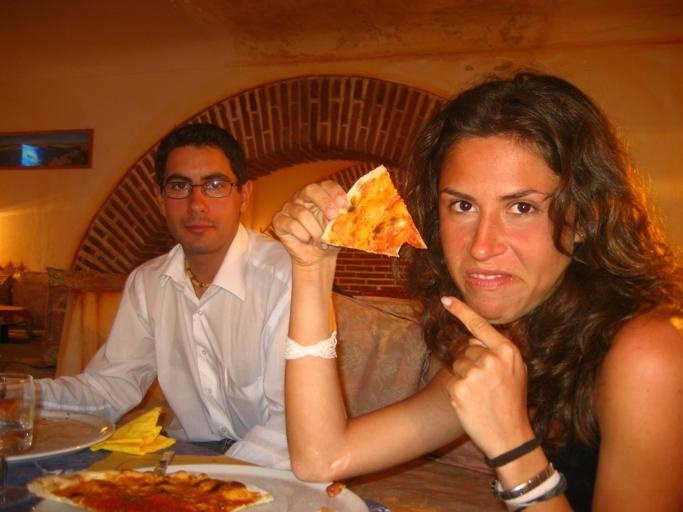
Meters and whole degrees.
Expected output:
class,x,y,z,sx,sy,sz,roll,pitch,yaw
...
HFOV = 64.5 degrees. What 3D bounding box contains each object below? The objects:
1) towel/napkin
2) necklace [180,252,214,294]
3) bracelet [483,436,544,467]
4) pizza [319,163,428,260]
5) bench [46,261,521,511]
class,x,y,z,sx,sy,sz,roll,pitch,yaw
towel/napkin,-0.538,0.459,1.402,0.124,0.039,0.099,-18,13,-19
necklace,-0.633,0.078,2.388,0.134,0.165,0.046,-10,-1,17
bracelet,0.419,0.483,1.369,0.159,0.035,0.149,0,-20,-41
pizza,0.077,-0.117,1.423,0.259,0.241,0.151,3,3,-11
bench,0.001,0.650,2.900,1.323,0.662,1.613,0,-4,-29
